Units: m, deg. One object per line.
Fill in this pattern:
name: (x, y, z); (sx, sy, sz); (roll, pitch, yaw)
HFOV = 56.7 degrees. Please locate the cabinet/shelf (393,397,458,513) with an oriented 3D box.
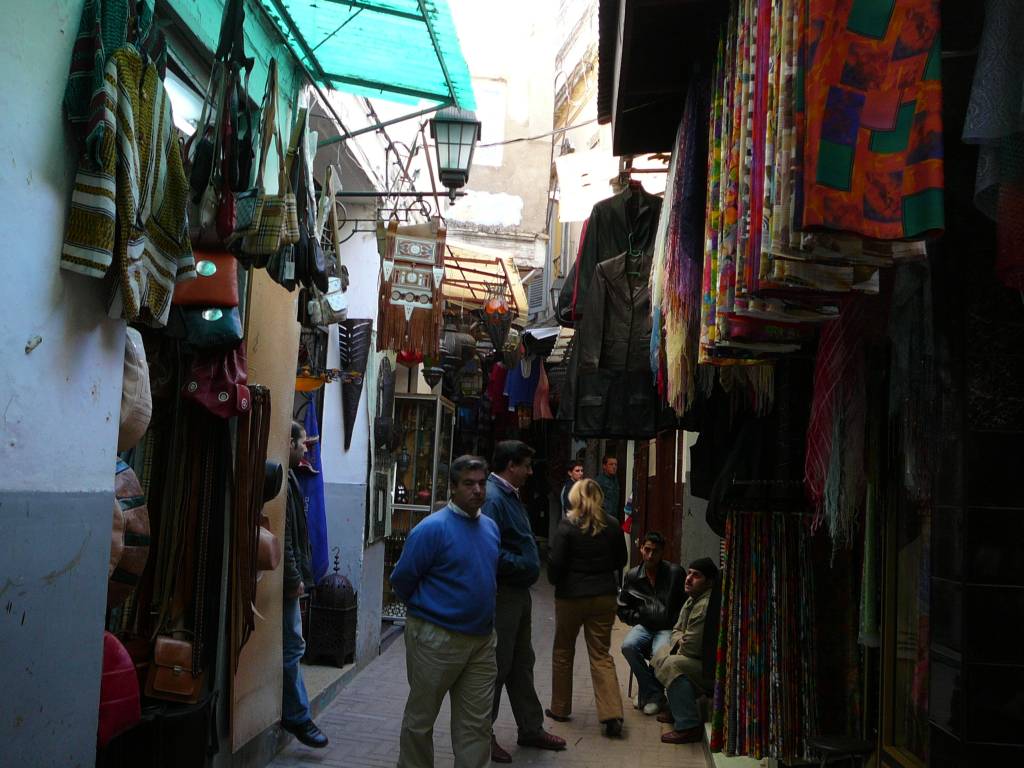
cabinet/shelf: (-1.190, 1.027, 13.220); (0.537, 1.752, 0.865); (2, 3, 15)

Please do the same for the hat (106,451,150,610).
hat: (-1.757, 0.694, 4.369); (0.167, 0.695, 0.455); (5, -5, -21)

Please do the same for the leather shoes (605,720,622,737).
leather shoes: (0.779, 2.628, 7.291); (0.102, 0.117, 0.144); (4, -6, -8)

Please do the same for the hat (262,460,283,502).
hat: (-1.492, 0.604, 5.937); (0.108, 0.224, 0.486); (5, -5, -12)

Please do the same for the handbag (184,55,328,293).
handbag: (-1.329, -1.221, 5.108); (0.543, 1.253, 1.342); (4, -5, -2)

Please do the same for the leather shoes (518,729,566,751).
leather shoes: (0.217, 2.574, 6.890); (0.350, 0.168, 0.140); (-1, -4, 8)

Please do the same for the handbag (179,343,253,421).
handbag: (-1.525, -0.064, 5.055); (0.218, 0.512, 0.329); (2, -9, 8)

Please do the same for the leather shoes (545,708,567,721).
leather shoes: (0.349, 2.674, 7.666); (0.067, 0.088, 0.196); (2, 9, -42)

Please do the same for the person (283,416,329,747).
person: (-1.493, 1.413, 6.903); (0.378, 2.223, 0.962); (4, -5, -13)

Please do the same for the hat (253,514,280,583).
hat: (-1.511, 1.015, 5.814); (0.185, 0.454, 0.412); (1, -18, -16)

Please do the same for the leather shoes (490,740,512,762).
leather shoes: (-0.079, 2.543, 6.569); (0.090, 0.084, 0.188); (6, -12, -32)

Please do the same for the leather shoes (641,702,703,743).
leather shoes: (1.297, 2.583, 7.260); (0.271, 0.168, 0.462); (4, -2, -1)

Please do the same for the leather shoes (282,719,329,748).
leather shoes: (-1.420, 2.402, 6.530); (0.310, 0.213, 0.292); (5, -5, -7)
